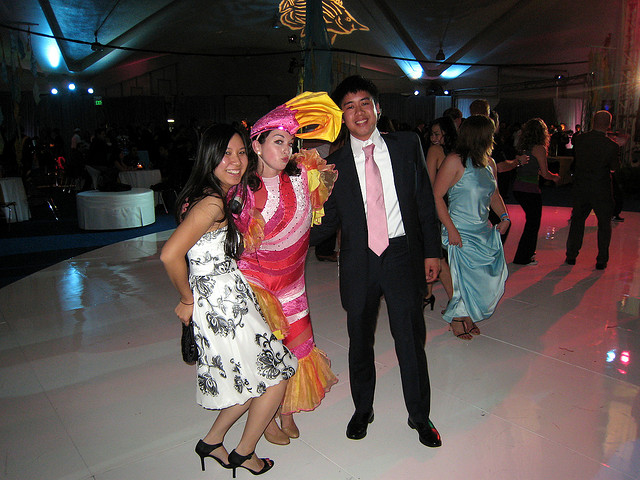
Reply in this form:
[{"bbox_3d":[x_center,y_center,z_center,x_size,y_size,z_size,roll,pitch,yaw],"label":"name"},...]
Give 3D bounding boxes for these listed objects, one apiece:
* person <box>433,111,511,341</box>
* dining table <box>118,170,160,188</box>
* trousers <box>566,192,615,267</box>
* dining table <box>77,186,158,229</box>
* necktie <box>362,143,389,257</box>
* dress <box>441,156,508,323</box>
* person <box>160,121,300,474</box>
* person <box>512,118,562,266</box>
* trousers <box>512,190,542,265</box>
[{"bbox_3d":[1.419,-0.104,3.688,0.691,2.058,0.999,6,18,27],"label":"person"},{"bbox_3d":[-4.581,-1.535,10.057,0.644,0.279,0.723,1,20,3],"label":"dining table"},{"bbox_3d":[3.884,-0.267,5.627,0.347,1.286,0.542,3,3,-43],"label":"trousers"},{"bbox_3d":[-4.572,-0.639,8.867,1.458,0.821,1.535,-4,9,3],"label":"dining table"},{"bbox_3d":[0.335,-0.235,2.327,0.146,0.638,0.170,0,15,6],"label":"necktie"},{"bbox_3d":[1.462,0.005,3.660,0.583,1.524,0.386,0,16,8],"label":"dress"},{"bbox_3d":[-0.501,0.392,2.128,0.618,1.959,0.598,-14,20,-38],"label":"person"},{"bbox_3d":[3.097,-0.681,5.652,0.505,2.039,0.764,7,18,29],"label":"person"},{"bbox_3d":[2.940,-0.177,5.629,0.369,1.043,0.283,6,18,28],"label":"trousers"}]
